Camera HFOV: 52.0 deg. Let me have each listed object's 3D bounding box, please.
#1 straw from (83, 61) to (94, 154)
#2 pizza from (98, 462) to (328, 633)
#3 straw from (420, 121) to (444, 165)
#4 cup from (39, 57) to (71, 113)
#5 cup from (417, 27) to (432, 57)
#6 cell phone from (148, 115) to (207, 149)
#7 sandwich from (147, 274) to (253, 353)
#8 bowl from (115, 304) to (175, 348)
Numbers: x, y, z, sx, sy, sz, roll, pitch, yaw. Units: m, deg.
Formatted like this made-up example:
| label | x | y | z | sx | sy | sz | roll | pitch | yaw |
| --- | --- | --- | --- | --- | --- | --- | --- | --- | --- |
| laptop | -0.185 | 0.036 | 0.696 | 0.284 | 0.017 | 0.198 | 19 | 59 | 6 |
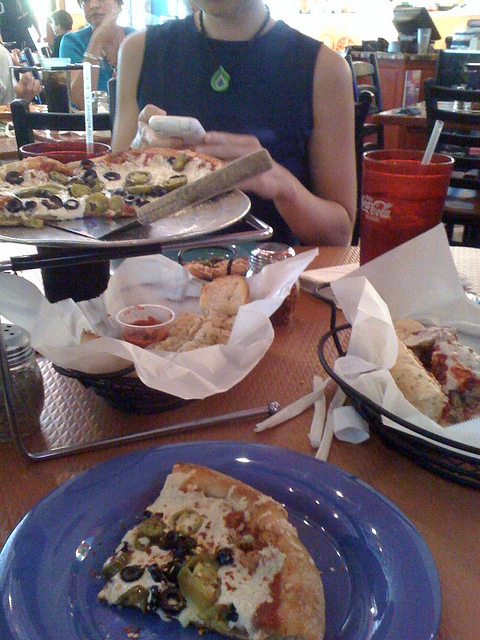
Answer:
| label | x | y | z | sx | sy | sz | roll | pitch | yaw |
| --- | --- | --- | --- | --- | --- | --- | --- | --- | --- |
| straw | -0.276 | -0.380 | 0.885 | 0.017 | 0.155 | 0.016 | -15 | 28 | -42 |
| pizza | -0.011 | 0.169 | 0.355 | 0.159 | 0.030 | 0.113 | 8 | 26 | 22 |
| straw | 0.281 | -0.261 | 0.713 | 0.012 | 0.062 | 0.012 | -13 | 25 | -27 |
| cup | -0.737 | -0.948 | 1.946 | 0.130 | 0.210 | 0.130 | 5 | 3 | 0 |
| cup | 1.993 | -3.046 | 5.359 | 0.140 | 0.275 | 0.406 | 5 | 25 | 16 |
| cell phone | -0.119 | -0.335 | 0.876 | 0.075 | 0.031 | 0.075 | 2 | 6 | -4 |
| sandwich | -0.052 | -0.029 | 0.667 | 0.088 | 0.039 | 0.126 | 8 | 31 | 30 |
| bowl | -0.130 | -0.005 | 0.683 | 0.066 | 0.038 | 0.067 | 3 | 15 | -1 |
